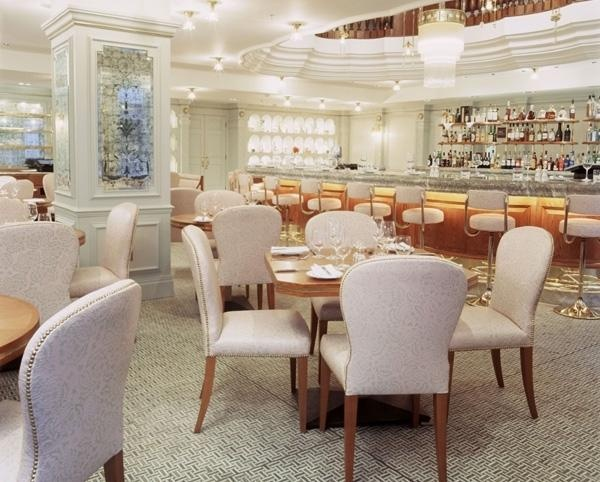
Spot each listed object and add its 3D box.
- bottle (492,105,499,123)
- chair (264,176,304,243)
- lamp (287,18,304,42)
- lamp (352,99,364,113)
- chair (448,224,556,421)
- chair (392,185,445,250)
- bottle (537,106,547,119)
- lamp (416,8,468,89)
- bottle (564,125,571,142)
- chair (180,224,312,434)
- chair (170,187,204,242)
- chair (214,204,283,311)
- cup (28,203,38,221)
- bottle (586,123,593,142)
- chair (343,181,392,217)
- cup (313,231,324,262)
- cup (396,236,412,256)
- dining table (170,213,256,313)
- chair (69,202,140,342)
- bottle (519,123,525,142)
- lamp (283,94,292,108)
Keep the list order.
[{"bbox_3d":[4.140,-2.752,9.714,0.127,0.295,0.347,4,11,27],"label":"bottle"},{"bbox_3d":[-0.245,-0.641,8.236,0.486,1.045,0.447,-1,14,-13],"label":"chair"},{"bbox_3d":[-0.073,-2.890,6.128,0.217,0.282,0.236,-1,10,-3],"label":"lamp"},{"bbox_3d":[1.670,-3.920,12.861,0.318,0.427,0.353,-2,4,-8],"label":"lamp"},{"bbox_3d":[1.149,0.485,2.899,0.626,1.210,0.632,1,9,8],"label":"chair"},{"bbox_3d":[1.614,-0.176,6.093,0.584,1.283,0.684,8,17,40],"label":"chair"},{"bbox_3d":[4.908,-2.664,9.244,0.115,0.219,0.337,4,11,25],"label":"bottle"},{"bbox_3d":[1.828,-2.645,5.942,0.555,1.031,0.625,2,10,17],"label":"lamp"},{"bbox_3d":[5.430,-2.273,9.270,0.146,0.361,0.587,5,12,29],"label":"bottle"},{"bbox_3d":[-0.315,0.486,2.838,0.721,1.247,0.733,-1,5,4],"label":"chair"},{"bbox_3d":[-1.662,-0.406,6.534,0.598,0.948,0.699,0,3,-13],"label":"chair"},{"bbox_3d":[-0.530,0.048,4.159,0.557,1.187,0.714,0,28,-12],"label":"chair"},{"bbox_3d":[-2.186,-0.253,3.722,0.061,0.145,0.161,-7,12,-31],"label":"cup"},{"bbox_3d":[5.494,-2.098,8.618,0.135,0.335,0.798,5,12,31],"label":"bottle"},{"bbox_3d":[0.926,-0.494,6.729,0.448,0.783,0.554,4,5,21],"label":"chair"},{"bbox_3d":[0.107,0.040,3.036,0.082,0.172,0.102,0,4,0],"label":"cup"},{"bbox_3d":[0.680,0.018,2.966,0.090,0.116,0.098,-5,7,1],"label":"cup"},{"bbox_3d":[-0.957,0.137,4.914,0.819,0.748,0.892,-2,11,-17],"label":"dining table"},{"bbox_3d":[-1.652,0.197,3.657,0.630,1.063,0.501,-2,8,-42],"label":"chair"},{"bbox_3d":[4.559,-2.263,9.304,0.176,0.351,0.566,4,11,24],"label":"bottle"},{"bbox_3d":[-0.320,-3.626,11.423,0.306,0.408,0.350,-1,6,-2],"label":"lamp"}]
